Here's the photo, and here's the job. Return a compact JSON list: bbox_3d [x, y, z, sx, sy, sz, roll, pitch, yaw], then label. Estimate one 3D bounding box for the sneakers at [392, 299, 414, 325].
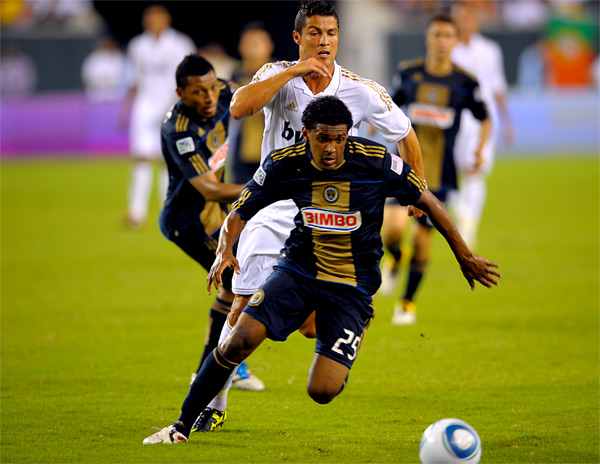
[{"bbox_3d":[0.967,0.767,7.522,0.190,0.221,0.208,1,-3,-12],"label":"sneakers"}]
